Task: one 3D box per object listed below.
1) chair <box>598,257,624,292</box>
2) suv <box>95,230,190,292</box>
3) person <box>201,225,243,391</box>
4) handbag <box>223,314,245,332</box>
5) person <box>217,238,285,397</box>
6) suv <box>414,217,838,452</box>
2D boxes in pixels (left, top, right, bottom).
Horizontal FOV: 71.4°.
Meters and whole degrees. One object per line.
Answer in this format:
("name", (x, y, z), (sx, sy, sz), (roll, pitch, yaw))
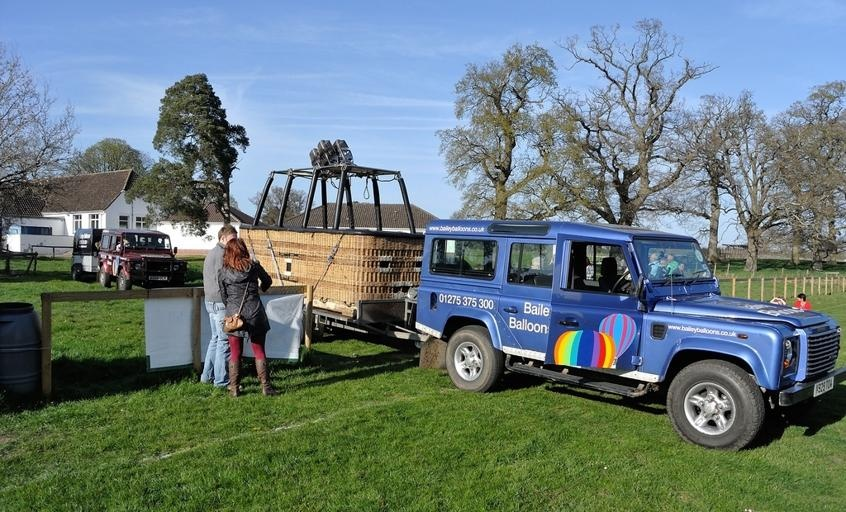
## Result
("chair", (3.369, 0.363, 10.630), (0.432, 0.614, 0.368), (2, 5, 7))
("suv", (-12.426, 0.155, 25.853), (2.800, 2.533, 3.697), (-9, 17, -36))
("person", (-3.882, 1.027, 11.921), (1.254, 3.567, 0.998), (-5, 31, -26))
("handbag", (-3.510, 1.242, 10.974), (0.322, 0.325, 0.151), (-1, -6, 21))
("person", (-3.372, 1.164, 11.240), (0.959, 2.976, 0.809), (-3, 14, -17))
("suv", (3.544, 1.186, 11.633), (6.850, 3.222, 3.981), (0, 2, 40))
